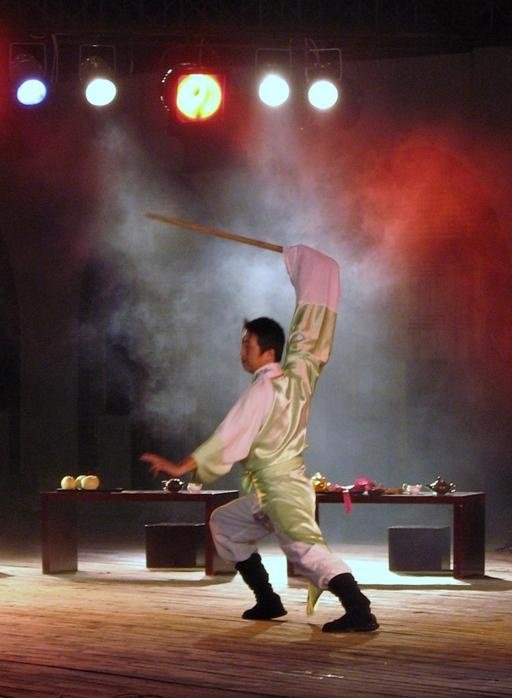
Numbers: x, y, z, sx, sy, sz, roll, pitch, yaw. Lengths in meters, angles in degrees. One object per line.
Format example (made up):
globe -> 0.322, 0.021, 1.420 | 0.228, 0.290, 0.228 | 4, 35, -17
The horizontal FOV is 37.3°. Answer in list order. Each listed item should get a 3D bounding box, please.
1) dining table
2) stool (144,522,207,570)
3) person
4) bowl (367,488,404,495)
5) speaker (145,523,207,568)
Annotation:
dining table -> 0.814, 1.111, 4.558 | 1.012, 0.442, 0.456 | 2, -11, -7
stool -> -0.511, 1.274, 5.022 | 0.398, 0.234, 0.347 | -1, -6, 5
person -> 0.076, 0.336, 2.983 | 0.734, 1.536, 0.626 | -2, -6, 7
bowl -> 0.769, 0.852, 4.527 | 0.100, 0.021, 0.101 | -1, 0, 0
speaker -> -0.513, 1.274, 5.022 | 0.400, 0.236, 0.346 | 0, -6, 4
